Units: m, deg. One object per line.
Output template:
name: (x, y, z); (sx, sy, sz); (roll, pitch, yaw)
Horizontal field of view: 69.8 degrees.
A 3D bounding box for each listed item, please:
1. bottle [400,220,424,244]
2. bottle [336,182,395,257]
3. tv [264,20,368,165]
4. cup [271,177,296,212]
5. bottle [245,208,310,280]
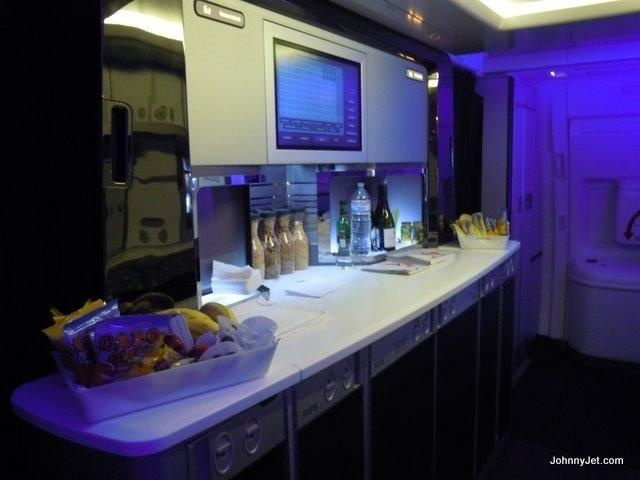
bottle: (0.557, -0.053, 2.821); (0.122, 0.137, 0.218); (3, 1, 19)
bottle: (0.241, -0.105, 2.538); (0.366, 0.533, 0.184); (-3, 4, -42)
tv: (-0.032, -0.648, 1.990); (0.060, 0.507, 0.643); (4, 9, 36)
cup: (-0.175, -0.217, 2.198); (0.117, 0.237, 0.116); (0, 4, 0)
bottle: (-0.204, 0.016, 2.081); (0.098, 0.262, 0.283); (1, 7, 28)
